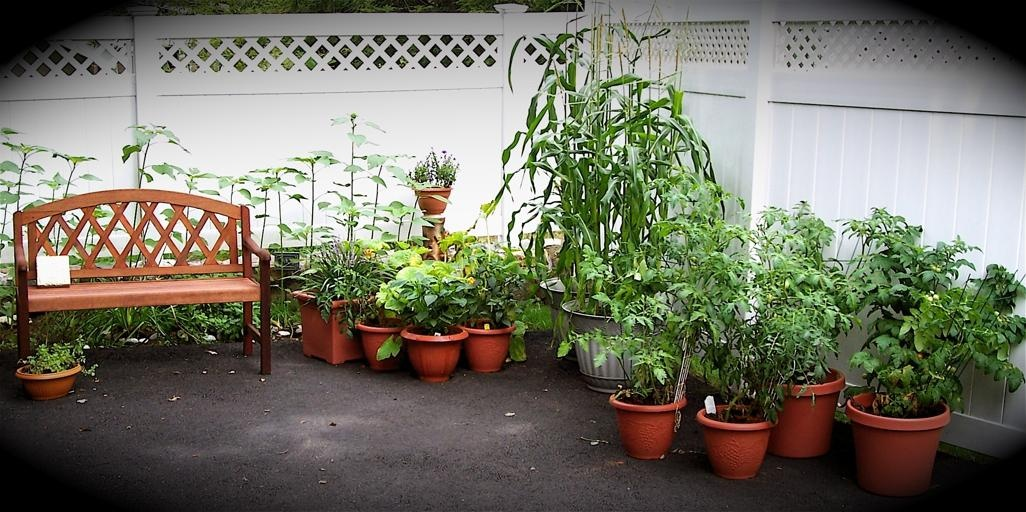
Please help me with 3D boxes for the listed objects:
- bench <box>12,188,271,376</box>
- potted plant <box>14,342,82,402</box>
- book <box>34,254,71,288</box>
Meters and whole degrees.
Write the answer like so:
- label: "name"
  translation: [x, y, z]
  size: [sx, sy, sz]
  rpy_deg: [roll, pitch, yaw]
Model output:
- label: "bench"
  translation: [-3.755, 0.328, 6.108]
  size: [2.272, 1.381, 0.792]
  rpy_deg: [-1, 5, -18]
- label: "potted plant"
  translation: [-4.122, 1.032, 5.586]
  size: [0.593, 0.360, 0.578]
  rpy_deg: [1, 0, 9]
- label: "book"
  translation: [-4.353, 0.152, 5.749]
  size: [0.339, 0.289, 0.078]
  rpy_deg: [2, -4, -17]
